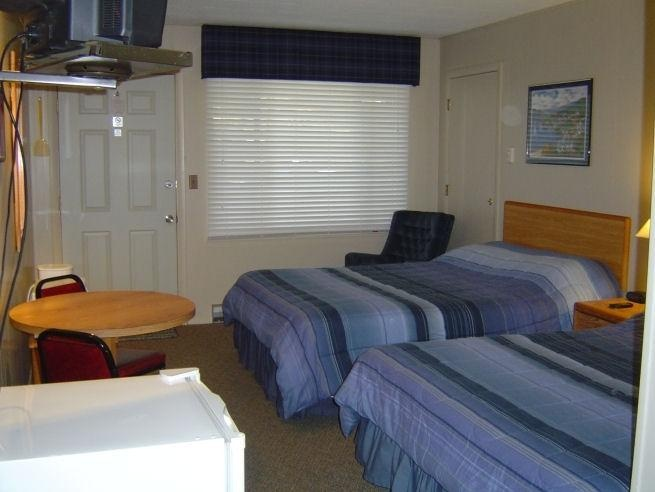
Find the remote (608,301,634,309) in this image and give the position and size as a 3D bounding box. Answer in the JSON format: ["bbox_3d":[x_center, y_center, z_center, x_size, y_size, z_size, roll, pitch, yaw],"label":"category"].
[{"bbox_3d":[1.944,0.392,3.340,0.125,0.021,0.065,-2,5,-3],"label":"remote"}]

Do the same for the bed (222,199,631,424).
[{"bbox_3d":[0.729,0.328,4.222,2.754,1.101,1.954,-4,8,-19],"label":"bed"}]

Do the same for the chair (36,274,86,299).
[{"bbox_3d":[-1.876,0.282,3.536,0.293,0.208,0.222,-4,2,-35],"label":"chair"}]

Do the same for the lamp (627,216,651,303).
[{"bbox_3d":[2.135,0.099,3.439,0.108,0.552,0.444,9,14,30],"label":"lamp"}]

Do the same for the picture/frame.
[{"bbox_3d":[1.955,-1.039,4.218,0.031,0.801,0.810,-3,5,-22],"label":"picture/frame"}]
